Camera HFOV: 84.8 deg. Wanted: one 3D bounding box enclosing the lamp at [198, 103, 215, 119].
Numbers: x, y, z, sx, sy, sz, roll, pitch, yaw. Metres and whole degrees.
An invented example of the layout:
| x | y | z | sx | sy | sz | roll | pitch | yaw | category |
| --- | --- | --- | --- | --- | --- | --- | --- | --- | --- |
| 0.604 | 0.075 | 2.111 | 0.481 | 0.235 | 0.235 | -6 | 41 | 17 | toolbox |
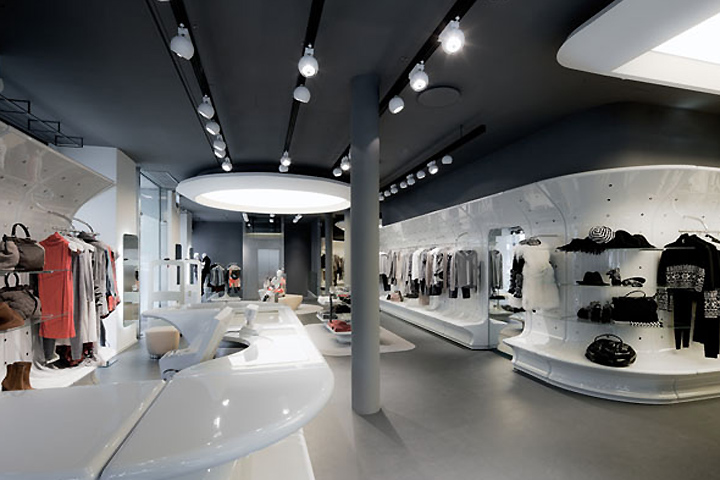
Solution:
| x | y | z | sx | sy | sz | roll | pitch | yaw | category |
| --- | --- | --- | --- | --- | --- | --- | --- | --- | --- |
| -1.953 | -1.664 | 5.055 | 0.147 | 0.174 | 0.240 | -3 | 10 | -15 | lamp |

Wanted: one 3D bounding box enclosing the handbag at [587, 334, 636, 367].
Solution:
| x | y | z | sx | sy | sz | roll | pitch | yaw | category |
| --- | --- | --- | --- | --- | --- | --- | --- | --- | --- |
| 3.464 | 1.567 | 5.438 | 0.552 | 0.222 | 0.446 | -1 | 10 | -4 | handbag |

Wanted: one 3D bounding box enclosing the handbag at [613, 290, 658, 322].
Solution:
| x | y | z | sx | sy | sz | roll | pitch | yaw | category |
| --- | --- | --- | --- | --- | --- | --- | --- | --- | --- |
| 3.861 | 0.940 | 5.504 | 0.389 | 0.378 | 0.156 | 0 | -6 | 7 | handbag |

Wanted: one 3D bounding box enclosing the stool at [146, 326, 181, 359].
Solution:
| x | y | z | sx | sy | sz | roll | pitch | yaw | category |
| --- | --- | --- | --- | --- | --- | --- | --- | --- | --- |
| -3.491 | 1.793 | 6.973 | 0.770 | 0.499 | 0.812 | 4 | -4 | -19 | stool |

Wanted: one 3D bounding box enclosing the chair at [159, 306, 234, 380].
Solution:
| x | y | z | sx | sy | sz | roll | pitch | yaw | category |
| --- | --- | --- | --- | --- | --- | --- | --- | --- | --- |
| -1.739 | 1.220 | 4.389 | 0.690 | 0.739 | 0.541 | 9 | -9 | 9 | chair |

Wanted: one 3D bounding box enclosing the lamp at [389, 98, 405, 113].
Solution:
| x | y | z | sx | sy | sz | roll | pitch | yaw | category |
| --- | --- | --- | --- | --- | --- | --- | --- | --- | --- |
| 0.469 | -1.764 | 5.107 | 0.154 | 0.188 | 0.205 | 1 | 10 | 8 | lamp |

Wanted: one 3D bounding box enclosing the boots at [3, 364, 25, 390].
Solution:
| x | y | z | sx | sy | sz | roll | pitch | yaw | category |
| --- | --- | --- | --- | --- | --- | --- | --- | --- | --- |
| -3.159 | 1.241 | 3.585 | 0.200 | 0.217 | 0.111 | 1 | 10 | 8 | boots |

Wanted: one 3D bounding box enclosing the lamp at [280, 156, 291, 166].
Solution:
| x | y | z | sx | sy | sz | roll | pitch | yaw | category |
| --- | --- | --- | --- | --- | --- | --- | --- | --- | --- |
| -1.270 | -1.406 | 6.754 | 0.170 | 0.261 | 0.128 | 1 | -32 | -8 | lamp |

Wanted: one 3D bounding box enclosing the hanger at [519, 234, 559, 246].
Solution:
| x | y | z | sx | sy | sz | roll | pitch | yaw | category |
| --- | --- | --- | --- | --- | --- | --- | --- | --- | --- |
| 2.895 | -0.021 | 6.379 | 0.205 | 0.188 | 0.633 | -6 | 12 | -32 | hanger |

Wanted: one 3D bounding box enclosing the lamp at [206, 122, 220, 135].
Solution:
| x | y | z | sx | sy | sz | roll | pitch | yaw | category |
| --- | --- | --- | --- | --- | --- | --- | --- | --- | --- |
| -2.028 | -1.551 | 5.480 | 0.259 | 0.096 | 0.266 | -5 | 2 | -32 | lamp |

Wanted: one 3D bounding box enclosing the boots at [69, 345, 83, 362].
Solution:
| x | y | z | sx | sy | sz | roll | pitch | yaw | category |
| --- | --- | --- | --- | --- | --- | --- | --- | --- | --- |
| -3.217 | 1.294 | 4.490 | 0.146 | 0.210 | 0.064 | -2 | 10 | -11 | boots |

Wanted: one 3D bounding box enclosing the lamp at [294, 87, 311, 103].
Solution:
| x | y | z | sx | sy | sz | roll | pitch | yaw | category |
| --- | --- | --- | --- | --- | --- | --- | --- | --- | --- |
| -0.712 | -1.823 | 4.923 | 0.153 | 0.184 | 0.283 | -1 | 10 | -4 | lamp |

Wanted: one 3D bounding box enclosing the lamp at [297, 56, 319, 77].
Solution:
| x | y | z | sx | sy | sz | roll | pitch | yaw | category |
| --- | --- | --- | --- | --- | --- | --- | --- | --- | --- |
| -0.566 | -1.907 | 4.337 | 0.169 | 0.196 | 0.166 | -2 | 10 | -12 | lamp |

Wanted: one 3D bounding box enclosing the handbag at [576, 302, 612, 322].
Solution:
| x | y | z | sx | sy | sz | roll | pitch | yaw | category |
| --- | --- | --- | --- | --- | --- | --- | --- | --- | --- |
| 3.463 | 1.065 | 5.792 | 0.163 | 0.203 | 0.487 | 1 | -5 | 4 | handbag |

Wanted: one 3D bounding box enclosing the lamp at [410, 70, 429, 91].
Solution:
| x | y | z | sx | sy | sz | roll | pitch | yaw | category |
| --- | --- | --- | --- | --- | --- | --- | --- | --- | --- |
| 0.685 | -1.852 | 4.573 | 0.184 | 0.191 | 0.120 | -2 | 10 | -9 | lamp |

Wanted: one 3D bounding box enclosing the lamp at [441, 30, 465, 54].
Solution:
| x | y | z | sx | sy | sz | roll | pitch | yaw | category |
| --- | --- | --- | --- | --- | --- | --- | --- | --- | --- |
| 0.973 | -2.074 | 4.136 | 0.227 | 0.168 | 0.148 | -2 | 10 | -12 | lamp |

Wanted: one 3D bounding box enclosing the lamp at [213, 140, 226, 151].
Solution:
| x | y | z | sx | sy | sz | roll | pitch | yaw | category |
| --- | --- | --- | --- | --- | --- | --- | --- | --- | --- |
| -2.121 | -1.436 | 6.044 | 0.170 | 0.168 | 0.227 | 17 | 9 | -31 | lamp |

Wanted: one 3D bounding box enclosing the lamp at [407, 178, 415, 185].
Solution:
| x | y | z | sx | sy | sz | roll | pitch | yaw | category |
| --- | --- | --- | --- | --- | --- | --- | --- | --- | --- |
| 1.073 | -1.194 | 8.039 | 0.133 | 0.189 | 0.164 | -2 | 0 | -9 | lamp |
